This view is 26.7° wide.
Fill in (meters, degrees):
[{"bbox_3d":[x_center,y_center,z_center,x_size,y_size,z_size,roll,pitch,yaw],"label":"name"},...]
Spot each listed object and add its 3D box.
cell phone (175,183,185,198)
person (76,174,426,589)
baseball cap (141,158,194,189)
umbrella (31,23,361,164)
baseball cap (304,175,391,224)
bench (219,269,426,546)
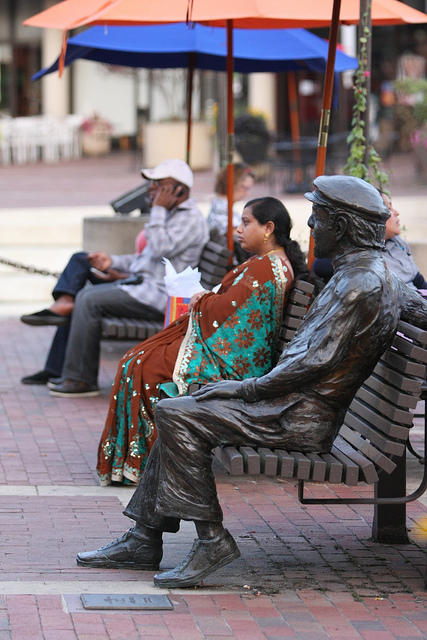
[{"bbox_3d":[-0.218,-0.846,5.841,0.061,0.069,0.061,-2,49,-2],"label":"cell phone"},{"bbox_3d":[0.177,0.227,3.195,1.057,1.501,0.466,5,6,13],"label":"person"},{"bbox_3d":[-0.288,-0.951,5.783,0.316,0.129,0.181,10,9,-17],"label":"baseball cap"},{"bbox_3d":[-0.117,-1.993,7.864,2.326,1.199,2.934,2,5,-9],"label":"umbrella"},{"bbox_3d":[0.461,-0.434,3.110,0.338,0.107,0.253,21,19,2],"label":"baseball cap"},{"bbox_3d":[0.399,0.326,3.419,0.624,0.698,1.263,2,3,-4],"label":"bench"}]
